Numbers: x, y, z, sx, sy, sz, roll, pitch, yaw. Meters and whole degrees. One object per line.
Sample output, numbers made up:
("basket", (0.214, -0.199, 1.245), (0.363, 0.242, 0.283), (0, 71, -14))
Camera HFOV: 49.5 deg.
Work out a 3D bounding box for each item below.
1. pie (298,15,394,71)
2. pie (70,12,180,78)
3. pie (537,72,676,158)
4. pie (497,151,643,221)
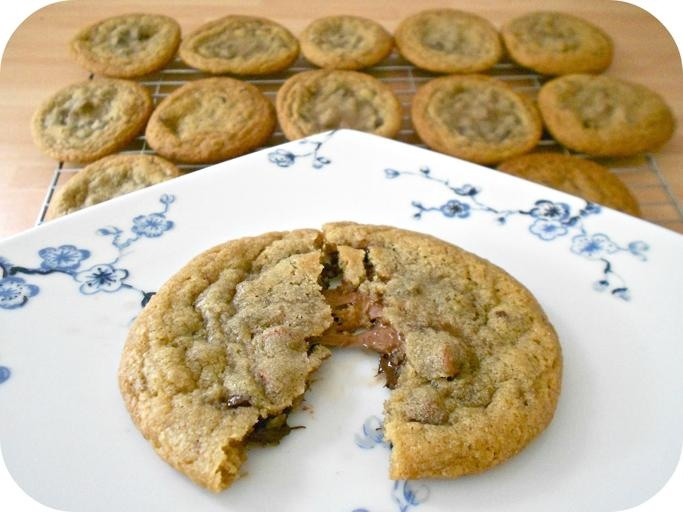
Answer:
("pie", (0.011, -0.619, 2.139), (0.263, 0.051, 0.200), (-20, 76, -4))
("pie", (-0.609, -0.601, 2.121), (0.215, 0.030, 0.226), (40, 60, 23))
("pie", (0.712, -0.368, 2.028), (0.284, 0.083, 0.231), (25, 75, 3))
("pie", (0.619, -0.202, 1.957), (0.228, 0.055, 0.220), (28, 54, 19))
